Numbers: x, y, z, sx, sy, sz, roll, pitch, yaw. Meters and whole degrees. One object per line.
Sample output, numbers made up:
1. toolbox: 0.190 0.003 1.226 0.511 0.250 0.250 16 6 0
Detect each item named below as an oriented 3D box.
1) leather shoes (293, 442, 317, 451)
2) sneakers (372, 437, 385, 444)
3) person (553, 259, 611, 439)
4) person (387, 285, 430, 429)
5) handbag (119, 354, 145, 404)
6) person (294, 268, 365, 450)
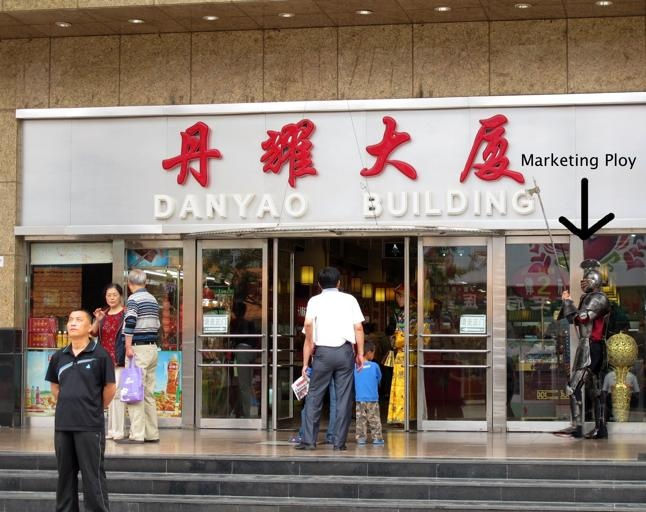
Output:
1. leather shoes: -0.219 2.331 17.234 0.274 0.128 0.095 6 2 33
2. sneakers: 0.719 2.364 17.756 0.158 0.111 0.053 3 -4 -25
3. person: 3.507 1.217 18.409 0.668 2.353 0.679 -4 -6 33
4. person: 1.148 1.372 19.495 0.397 1.967 0.818 2 -6 -21
5. handbag: -2.427 1.580 17.774 0.299 0.588 0.365 1 -5 -9
6. person: 0.095 1.409 17.268 0.819 1.967 0.268 0 -5 -2
